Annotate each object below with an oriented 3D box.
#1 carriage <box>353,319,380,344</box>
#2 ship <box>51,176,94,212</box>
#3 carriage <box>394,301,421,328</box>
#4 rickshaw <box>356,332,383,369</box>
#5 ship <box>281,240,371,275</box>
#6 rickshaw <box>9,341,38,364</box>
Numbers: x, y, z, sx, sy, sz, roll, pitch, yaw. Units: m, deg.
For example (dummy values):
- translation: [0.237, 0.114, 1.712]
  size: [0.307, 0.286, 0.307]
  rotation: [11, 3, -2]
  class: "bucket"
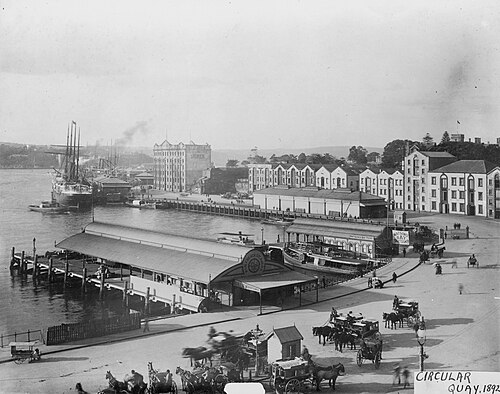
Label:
- translation: [4.384, 4.976, 30.650]
  size: [1.030, 0.640, 0.555]
  rotation: [-6, 8, -44]
  class: "carriage"
- translation: [-20.523, -0.403, 94.093]
  size: [4.646, 3.046, 11.238]
  rotation: [-2, 6, -13]
  class: "ship"
- translation: [6.448, 4.552, 32.864]
  size: [1.104, 0.685, 0.641]
  rotation: [-10, 16, 10]
  class: "carriage"
- translation: [4.383, 5.470, 29.827]
  size: [0.903, 0.961, 1.636]
  rotation: [0, 6, 10]
  class: "rickshaw"
- translation: [4.293, 3.491, 46.482]
  size: [1.602, 1.744, 5.928]
  rotation: [-2, 9, -40]
  class: "ship"
- translation: [-8.384, 5.654, 30.516]
  size: [1.064, 0.633, 1.371]
  rotation: [-2, 6, -16]
  class: "rickshaw"
